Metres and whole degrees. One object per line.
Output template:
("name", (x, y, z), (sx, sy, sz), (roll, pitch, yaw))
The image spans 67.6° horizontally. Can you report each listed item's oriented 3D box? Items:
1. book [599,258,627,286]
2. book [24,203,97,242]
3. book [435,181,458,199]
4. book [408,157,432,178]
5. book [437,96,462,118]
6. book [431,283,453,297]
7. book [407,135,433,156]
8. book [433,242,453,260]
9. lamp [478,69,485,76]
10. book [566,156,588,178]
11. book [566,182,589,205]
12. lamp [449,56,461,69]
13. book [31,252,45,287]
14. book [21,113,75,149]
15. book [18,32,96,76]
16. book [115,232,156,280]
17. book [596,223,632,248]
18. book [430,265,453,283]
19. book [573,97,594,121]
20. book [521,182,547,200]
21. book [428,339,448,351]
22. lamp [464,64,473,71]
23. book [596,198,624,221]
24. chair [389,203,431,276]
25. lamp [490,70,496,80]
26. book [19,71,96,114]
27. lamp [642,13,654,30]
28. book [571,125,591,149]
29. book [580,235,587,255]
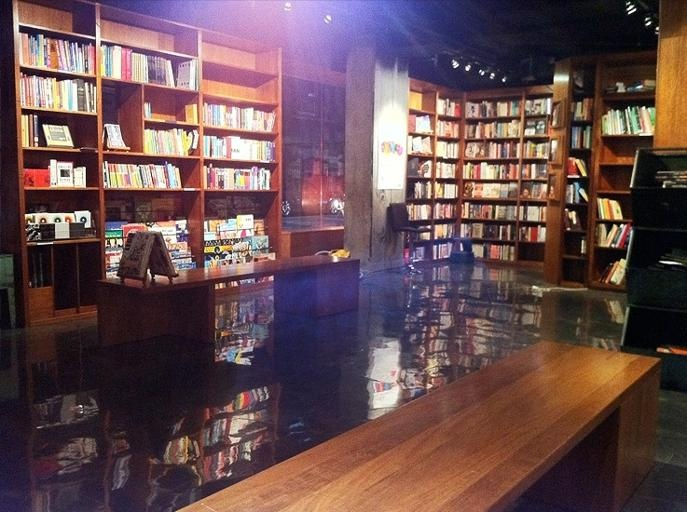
("book", (3.794, 0.226, 7.252), (0.087, 0.348, 0.343), (13, -10, 19))
("book", (-2.970, -0.329, 5.423), (0.665, 0.293, 0.257), (-6, 11, -35))
("book", (2.011, -1.282, 10.097), (0.366, 0.362, 0.504), (2, 3, -9))
("book", (1.400, -1.664, 9.487), (0.150, 0.342, 0.700), (8, 12, 39))
("book", (2.021, -2.918, 9.935), (0.496, 0.485, 0.277), (-3, 11, -37))
("book", (1.381, 0.470, 7.202), (0.130, 0.173, 0.398), (3, 7, 32))
("book", (1.394, -2.042, 9.415), (0.386, 0.408, 0.133), (-2, 2, -32))
("book", (1.923, -0.106, 10.088), (0.309, 0.423, 0.437), (3, 4, 43))
("lamp", (2.430, -3.300, 9.108), (0.118, 0.088, 0.028), (17, 11, -19))
("book", (3.518, -1.355, 7.746), (0.291, 0.271, 0.194), (5, 10, 23))
("book", (3.521, -0.900, 7.821), (0.280, 0.380, 0.387), (-3, -8, 38))
("lamp", (1.899, -3.389, 8.825), (0.181, 0.215, 0.248), (-2, 2, 6))
("book", (-3.225, 0.137, 5.453), (0.086, 0.334, 0.173), (1, -1, -45))
("book", (-3.088, -1.310, 5.347), (0.468, 0.351, 0.329), (-6, 11, -37))
("book", (-2.910, -2.088, 5.268), (0.680, 0.363, 0.185), (-5, 11, -34))
("book", (-1.891, 0.001, 4.699), (0.441, 0.456, 0.165), (5, -9, 39))
("book", (3.711, -0.299, 7.059), (0.338, 0.338, 0.209), (8, 11, 30))
("book", (1.612, 0.294, 8.503), (0.267, 0.304, 0.306), (2, 10, -9))
("book", (3.543, -2.189, 7.669), (0.273, 0.367, 0.373), (4, 4, 21))
("book", (3.563, -1.235, 9.574), (0.439, 0.434, 0.173), (3, 1, 42))
("book", (0.885, 0.837, 4.869), (0.098, 0.097, 0.166), (-1, 0, 26))
("lamp", (2.120, -3.234, 8.743), (0.045, 0.091, 0.126), (8, 13, -26))
("book", (3.797, -0.679, 7.351), (0.360, 0.309, 0.185), (4, 9, 16))
("chair", (1.170, -0.383, 9.036), (0.614, 1.148, 0.991), (5, 10, 23))
("lamp", (2.690, -3.319, 9.302), (0.054, 0.134, 0.132), (12, 1, 35))
("book", (-2.923, -1.694, 5.309), (0.704, 0.321, 0.066), (-7, 12, -41))
("lamp", (3.946, -3.106, 6.706), (0.132, 0.180, 0.184), (0, 19, 12))
("book", (3.560, -1.790, 7.779), (0.298, 0.416, 0.412), (3, 4, 28))
("book", (3.609, -0.161, 7.747), (0.057, 0.292, 0.452), (4, 10, 18))
